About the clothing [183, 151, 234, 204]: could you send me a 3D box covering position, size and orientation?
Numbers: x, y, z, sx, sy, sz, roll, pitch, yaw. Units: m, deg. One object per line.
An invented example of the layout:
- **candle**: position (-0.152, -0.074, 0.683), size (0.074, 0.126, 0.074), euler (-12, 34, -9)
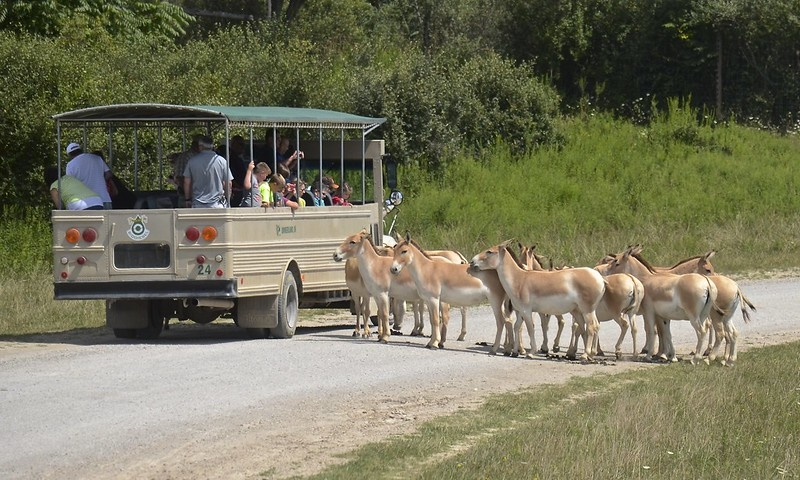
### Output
- **clothing**: position (-5.216, -1.528, 28.129), size (1.383, 1.702, 0.879), euler (-1, -19, -13)

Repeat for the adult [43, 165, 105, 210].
- **adult**: position (-9.302, -1.173, 28.925), size (2.378, 1.076, 1.016), euler (20, 20, 35)

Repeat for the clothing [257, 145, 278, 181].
- **clothing**: position (-3.863, -2.186, 29.978), size (0.448, 0.934, 0.857), euler (-7, 15, -29)

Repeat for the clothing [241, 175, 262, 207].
- **clothing**: position (-4.032, -1.232, 28.695), size (0.414, 0.858, 0.798), euler (8, -5, 9)

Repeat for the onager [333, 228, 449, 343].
- **onager**: position (-0.318, 1.400, 29.350), size (0.903, 2.815, 3.938), euler (-5, -7, 41)

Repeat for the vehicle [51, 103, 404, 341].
- **vehicle**: position (-4.336, -0.472, 30.789), size (5.715, 5.987, 9.726), euler (1, 3, 23)

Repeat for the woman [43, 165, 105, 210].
- **woman**: position (-9.068, -1.470, 28.966), size (0.766, 0.793, 1.893), euler (-10, 39, -43)

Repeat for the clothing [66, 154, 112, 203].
- **clothing**: position (-8.598, -1.961, 28.960), size (1.045, 1.365, 0.743), euler (-20, 49, -14)

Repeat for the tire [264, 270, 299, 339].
- **tire**: position (-3.024, 1.862, 28.761), size (0.462, 1.644, 1.377), euler (0, -2, -43)

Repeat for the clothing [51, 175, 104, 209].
- **clothing**: position (-8.929, -1.270, 28.316), size (1.502, 0.853, 0.713), euler (3, 12, 12)

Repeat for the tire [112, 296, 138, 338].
- **tire**: position (-7.661, 2.189, 28.585), size (0.774, 1.263, 0.750), euler (-3, 12, -17)
